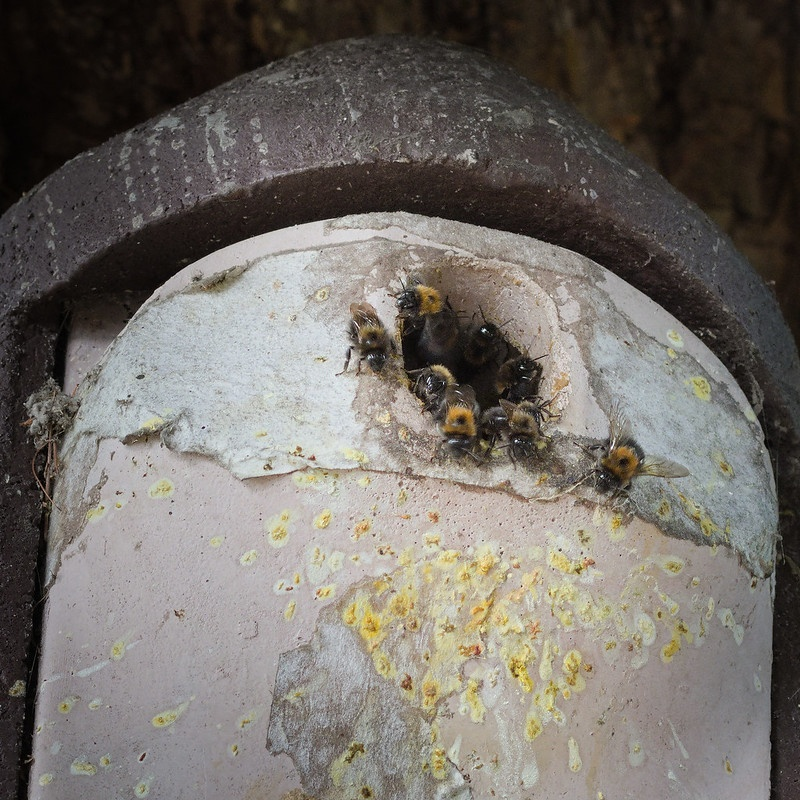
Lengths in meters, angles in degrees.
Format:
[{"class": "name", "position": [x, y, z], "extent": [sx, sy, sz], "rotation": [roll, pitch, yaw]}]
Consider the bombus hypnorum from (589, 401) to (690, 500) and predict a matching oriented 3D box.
[{"class": "bombus hypnorum", "position": [0.719, 0.176, 4.891], "extent": [0.214, 0.279, 0.102], "rotation": [46, -56, 1]}]
